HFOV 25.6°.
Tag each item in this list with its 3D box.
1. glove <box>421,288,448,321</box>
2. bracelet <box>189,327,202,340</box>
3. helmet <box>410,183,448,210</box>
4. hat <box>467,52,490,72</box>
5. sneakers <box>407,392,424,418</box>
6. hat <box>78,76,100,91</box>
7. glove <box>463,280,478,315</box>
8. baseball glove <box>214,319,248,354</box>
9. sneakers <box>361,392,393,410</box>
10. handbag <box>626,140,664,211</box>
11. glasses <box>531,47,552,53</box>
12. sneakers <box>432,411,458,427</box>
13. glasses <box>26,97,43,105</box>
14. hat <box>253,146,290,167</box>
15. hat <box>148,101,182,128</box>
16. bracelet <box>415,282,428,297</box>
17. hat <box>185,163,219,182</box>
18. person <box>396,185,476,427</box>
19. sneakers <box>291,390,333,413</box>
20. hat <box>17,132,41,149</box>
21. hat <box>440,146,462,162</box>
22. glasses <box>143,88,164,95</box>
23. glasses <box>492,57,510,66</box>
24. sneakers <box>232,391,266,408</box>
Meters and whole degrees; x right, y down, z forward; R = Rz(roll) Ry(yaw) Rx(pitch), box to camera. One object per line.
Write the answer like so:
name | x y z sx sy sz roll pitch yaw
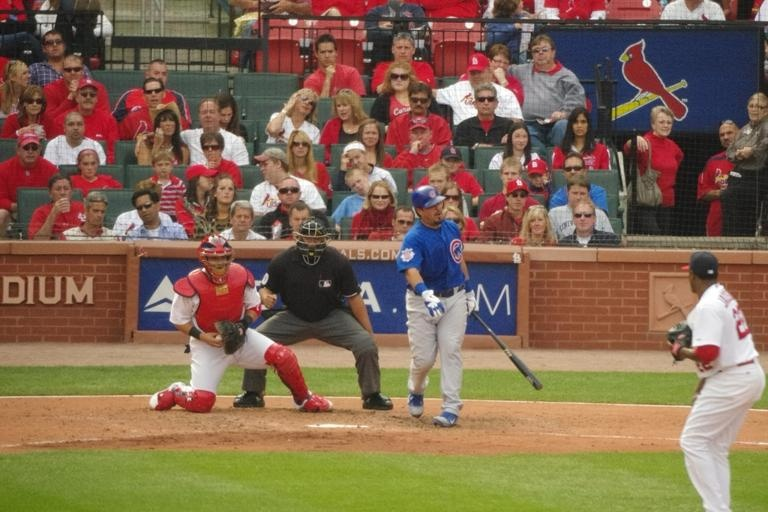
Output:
glove | 0.755 0.724 25.679 0.299 0.445 0.142 -22 -21 -22
bracelet | -2.902 1.174 26.011 0.206 0.197 0.131 -1 5 -8
helmet | 0.660 -0.891 25.934 0.415 0.223 0.327 -9 16 39
hat | 1.846 -3.730 32.790 0.392 0.348 0.522 0 4 3
sneakers | 0.509 2.281 26.303 0.157 0.468 0.194 -3 11 -1
hat | -5.590 -3.243 31.921 0.354 0.207 0.425 -1 4 -6
glove | 1.384 0.673 27.138 0.190 0.591 0.416 -9 36 12
baseball glove | -2.326 1.241 25.931 0.482 0.513 0.428 -1 10 2
sneakers | -0.106 2.292 26.680 0.467 0.219 0.223 -3 -2 30
handbag | 4.977 -1.508 31.998 0.583 1.196 0.414 1 5 19
glasses | 3.044 -3.964 32.719 0.403 0.120 0.189 1 5 23
sneakers | 0.973 2.479 25.981 0.434 0.247 0.229 -2 5 -19
glasses | -6.527 -2.876 31.608 0.275 0.084 0.081 -2 5 -13
hat | -2.008 -1.804 30.521 0.501 0.259 0.330 4 -6 -11
hat | -4.082 -2.662 31.536 0.430 0.511 0.196 -3 10 -3
bracelet | 0.570 0.507 25.770 0.185 0.186 0.187 1 -9 -8
hat | -3.307 -1.500 30.409 0.444 0.184 0.292 -6 4 6
person | 0.779 0.757 26.007 1.082 3.653 0.775 0 5 2
sneakers | -1.092 2.263 26.466 0.489 0.231 0.286 -3 11 6
hat | -6.455 -2.108 30.668 0.395 0.255 0.244 -1 4 -3
hat | 1.235 -1.862 30.970 0.370 0.270 0.429 0 4 2
glasses | -4.325 -3.066 31.701 0.309 0.111 0.083 -1 5 -8
glasses | 2.264 -3.786 33.002 0.332 0.176 0.183 0 4 8
sneakers | -2.118 2.249 26.736 0.420 0.282 0.230 5 -2 -4
